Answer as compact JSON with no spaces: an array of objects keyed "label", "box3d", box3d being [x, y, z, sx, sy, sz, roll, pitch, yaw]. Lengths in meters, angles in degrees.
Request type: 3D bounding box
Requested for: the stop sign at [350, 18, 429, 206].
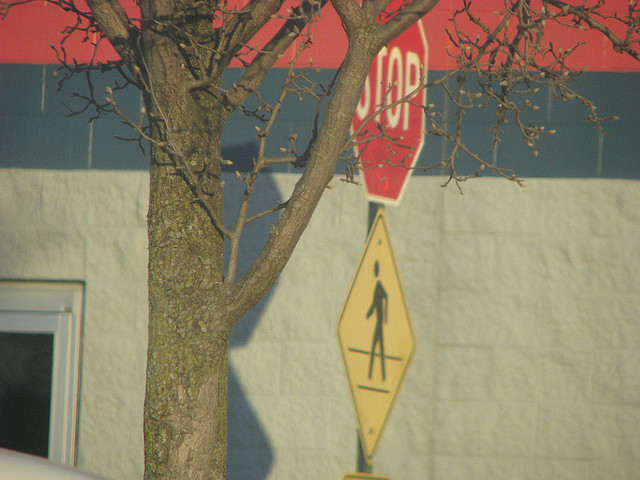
[{"label":"stop sign","box3d":[0.690,-1.218,24.310,0.713,1.755,0.424,4,-8,1]}]
